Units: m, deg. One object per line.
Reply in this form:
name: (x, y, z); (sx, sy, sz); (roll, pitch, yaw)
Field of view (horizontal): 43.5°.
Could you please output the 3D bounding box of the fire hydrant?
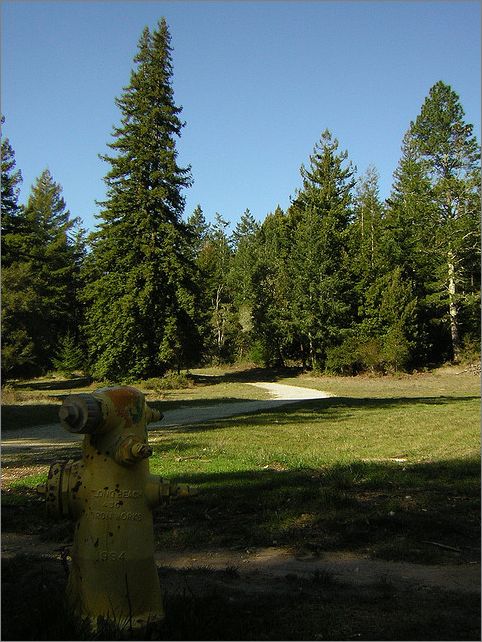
fire hydrant: (-0.721, 1.002, 3.310); (0.683, 1.252, 0.496); (-3, -3, -15)
